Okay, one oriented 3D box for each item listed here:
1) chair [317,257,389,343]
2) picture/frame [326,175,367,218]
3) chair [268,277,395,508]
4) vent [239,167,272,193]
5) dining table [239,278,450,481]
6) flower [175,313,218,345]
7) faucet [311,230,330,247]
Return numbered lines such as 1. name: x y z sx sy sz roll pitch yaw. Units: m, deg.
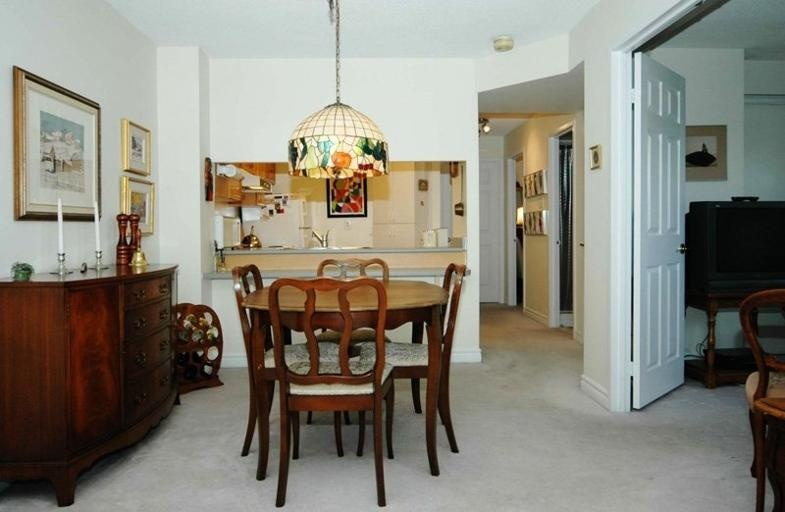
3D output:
1. chair: -0.328 0.351 5.436 0.602 1.100 0.708 0 -4 2
2. picture/frame: -0.553 -0.698 7.157 0.461 0.527 0.034 0 -5 -1
3. chair: -0.401 0.773 4.137 0.807 1.438 1.115 -2 15 -4
4. vent: -1.570 -0.873 6.680 0.222 0.288 0.740 2 15 12
5. dining table: -0.294 0.721 4.371 1.296 1.062 1.384 0 2 6
6. flower: -1.829 0.679 5.488 0.306 0.320 0.074 -16 2 -20
7. faucet: -0.905 -0.218 7.364 0.237 0.243 0.142 0 0 -9
